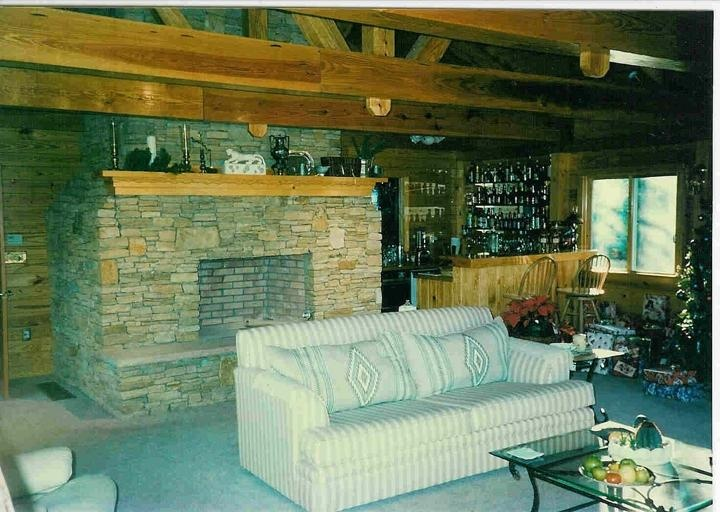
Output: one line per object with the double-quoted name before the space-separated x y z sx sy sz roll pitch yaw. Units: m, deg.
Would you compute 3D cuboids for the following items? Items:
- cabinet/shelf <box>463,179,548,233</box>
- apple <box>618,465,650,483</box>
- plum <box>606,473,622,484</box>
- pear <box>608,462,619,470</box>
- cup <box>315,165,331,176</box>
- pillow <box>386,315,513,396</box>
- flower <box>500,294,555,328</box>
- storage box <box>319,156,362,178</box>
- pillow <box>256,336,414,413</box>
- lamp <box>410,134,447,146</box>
"cabinet/shelf" 2.636 -0.898 10.444 1.501 0.648 0.451 2 2 45
"apple" 1.728 1.434 3.719 0.212 0.129 0.130 1 -13 6
"plum" 1.598 1.455 3.721 0.090 0.047 0.078 4 -5 -34
"pear" 1.632 1.413 3.807 0.072 0.029 0.064 -1 3 25
"cup" -0.467 -1.093 7.390 0.194 0.090 0.157 1 3 0
"pillow" 0.747 0.923 5.101 0.897 0.368 0.229 -3 -15 -30
"flower" 1.846 0.585 6.426 0.551 0.164 0.476 -3 14 26
"storage box" -0.229 -1.145 7.434 0.511 0.252 0.223 -3 10 -9
"pillow" -0.182 1.100 4.887 1.579 0.453 0.593 -3 22 -31
"lamp" 1.143 -2.023 10.032 0.630 0.154 1.665 0 8 8
